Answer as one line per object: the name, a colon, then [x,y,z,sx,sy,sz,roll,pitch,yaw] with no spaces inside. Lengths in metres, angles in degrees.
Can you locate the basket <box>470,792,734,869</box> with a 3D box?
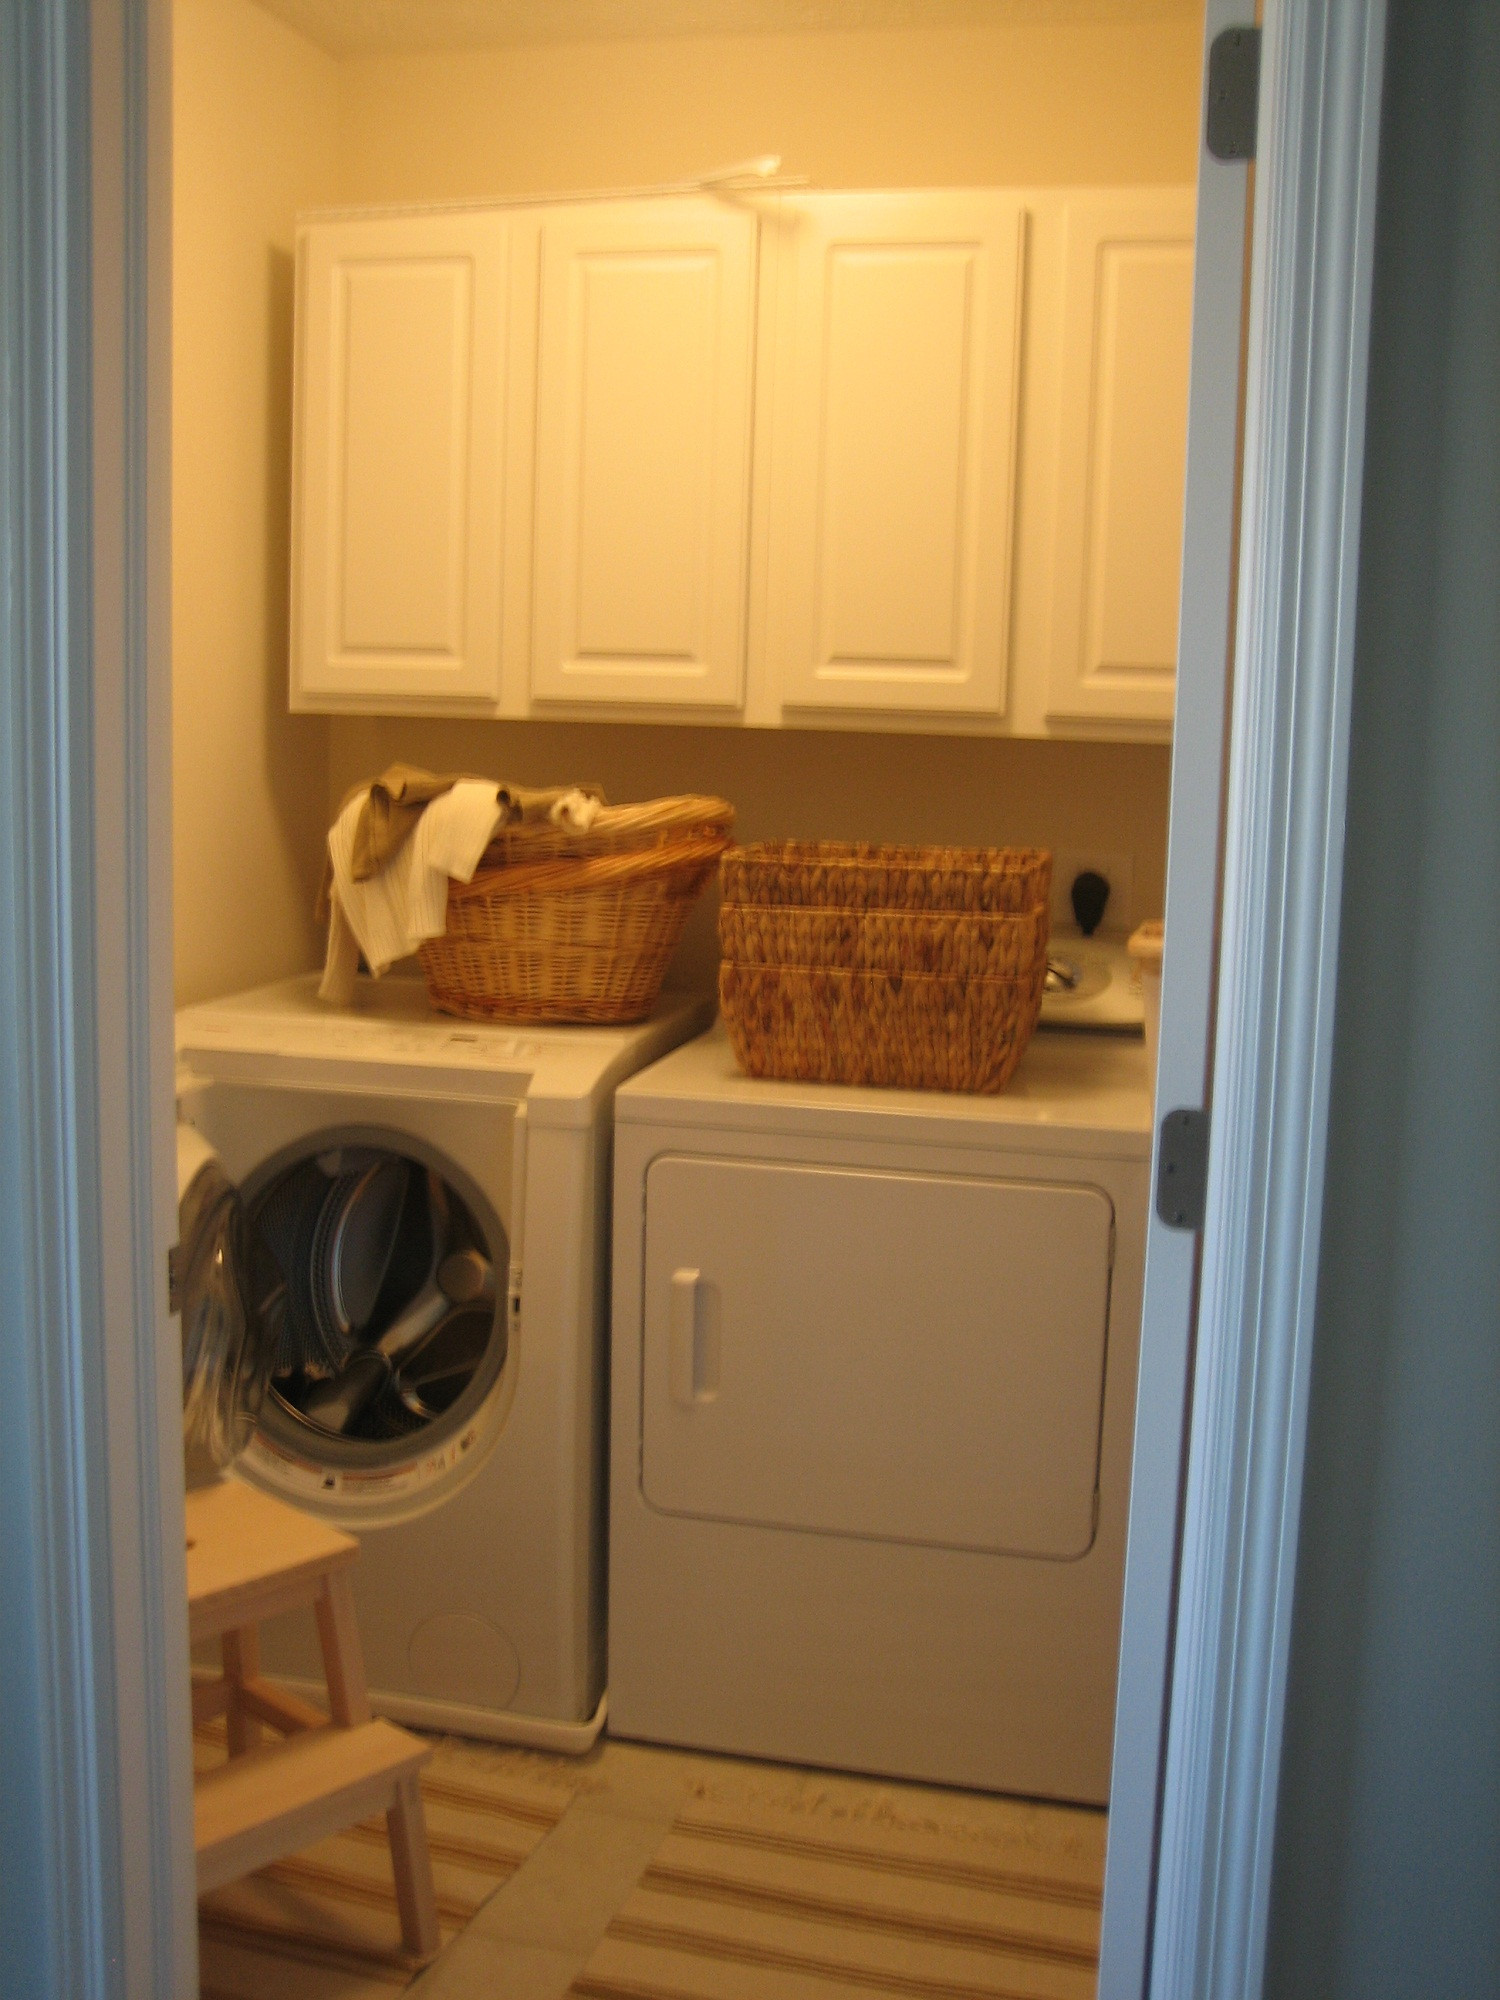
basket: [-0.190,-0.226,2.284,0.324,0.092,0.133,0,7,-10]

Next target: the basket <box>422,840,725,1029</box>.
basket: [-0.270,-0.127,2.451,0.411,0.260,0.434,6,6,-12]

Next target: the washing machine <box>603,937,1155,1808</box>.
washing machine: [0.127,0.465,2.345,0.709,1.121,0.750,1,4,12]

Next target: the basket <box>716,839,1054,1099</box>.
basket: [0.147,-0.039,2.028,0.446,0.351,0.272,2,9,8]

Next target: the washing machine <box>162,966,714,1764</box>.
washing machine: [-0.338,0.434,2.458,0.744,1.139,0.773,2,4,14]
